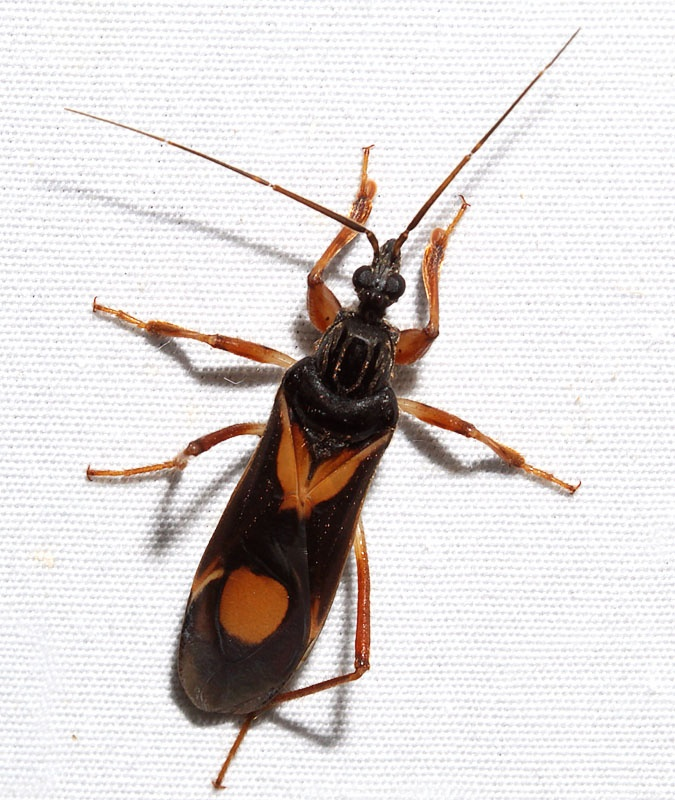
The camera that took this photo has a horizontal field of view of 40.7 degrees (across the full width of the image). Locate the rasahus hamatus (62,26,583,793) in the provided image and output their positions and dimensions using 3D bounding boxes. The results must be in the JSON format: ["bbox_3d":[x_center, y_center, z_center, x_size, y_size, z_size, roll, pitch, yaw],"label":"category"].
[{"bbox_3d":[-0.160,0.200,2.920,1.118,0.926,1.840,29,68,1],"label":"rasahus hamatus"}]
